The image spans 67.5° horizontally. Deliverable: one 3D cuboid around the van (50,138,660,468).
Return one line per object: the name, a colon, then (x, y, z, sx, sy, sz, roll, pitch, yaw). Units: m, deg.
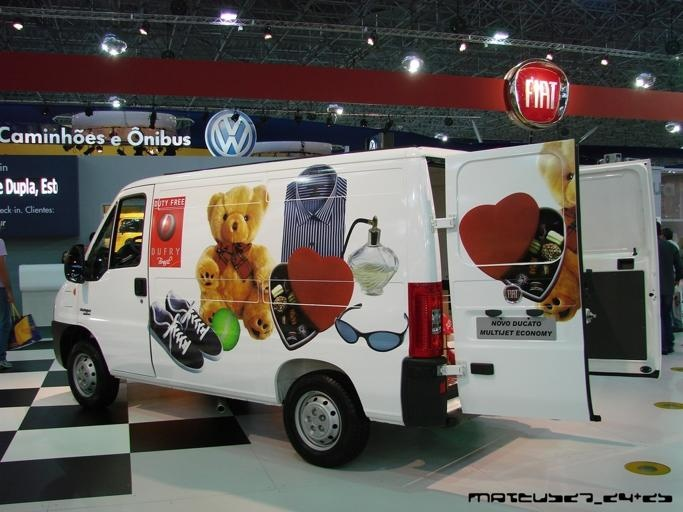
van: (-0.064, 0.286, 5.016, 4.478, 2.052, 2.664, 4, 3, 32)
